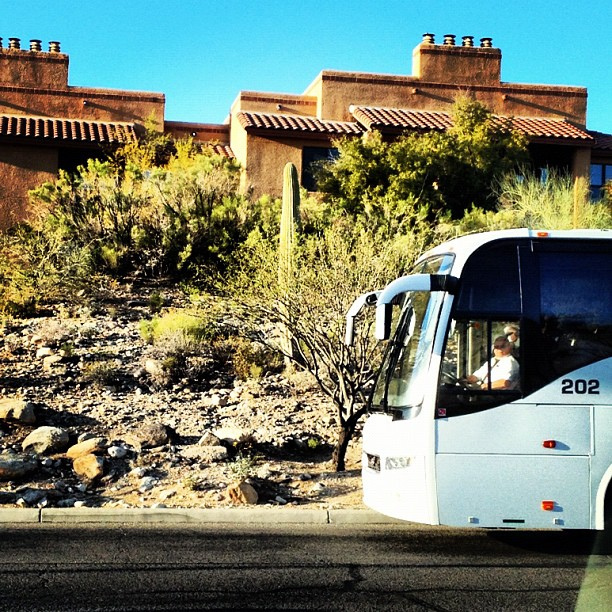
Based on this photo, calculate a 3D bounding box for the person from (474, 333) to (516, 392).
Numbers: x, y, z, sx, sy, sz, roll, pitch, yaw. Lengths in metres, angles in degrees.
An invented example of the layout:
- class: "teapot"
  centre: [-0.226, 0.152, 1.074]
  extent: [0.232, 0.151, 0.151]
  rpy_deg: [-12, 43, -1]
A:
- class: "person"
  centre: [2.295, 0.712, 13.163]
  extent: [0.459, 0.771, 0.527]
  rpy_deg: [16, -15, -39]
